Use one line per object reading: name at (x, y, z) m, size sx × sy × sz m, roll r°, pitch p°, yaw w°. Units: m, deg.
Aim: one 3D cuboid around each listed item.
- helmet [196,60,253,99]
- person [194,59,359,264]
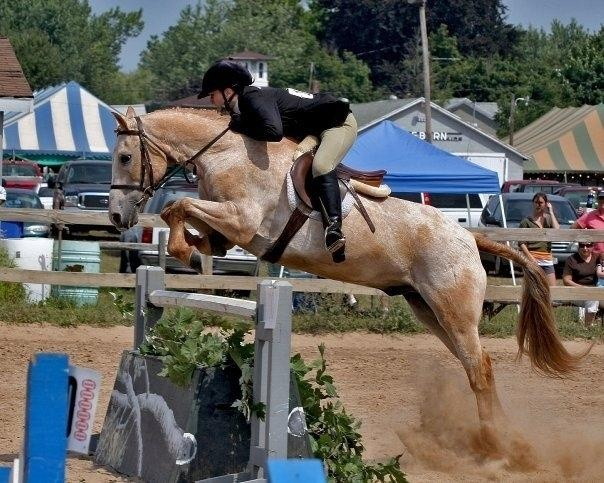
helmet at (-0.776, -1.602, 10.444) m, size 0.501 × 0.289 × 0.349 m, roll -5°, pitch 8°, yaw -7°
person at (-0.232, -0.800, 10.379) m, size 1.448 × 1.881 × 0.827 m, roll 4°, pitch 13°, yaw 4°
